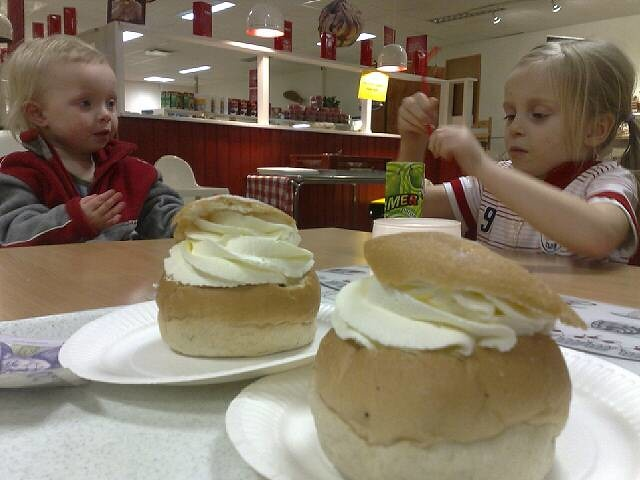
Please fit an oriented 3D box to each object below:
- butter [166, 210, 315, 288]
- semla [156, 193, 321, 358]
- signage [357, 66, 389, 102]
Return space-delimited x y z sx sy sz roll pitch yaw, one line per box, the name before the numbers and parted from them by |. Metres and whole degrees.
butter | -0.126 0.018 0.709 0.145 0.056 0.145 1 6 23
semla | -0.119 0.058 0.775 0.264 0.250 0.286 2 1 6
signage | 0.623 -1.763 5.455 0.355 0.307 0.343 8 7 -6
